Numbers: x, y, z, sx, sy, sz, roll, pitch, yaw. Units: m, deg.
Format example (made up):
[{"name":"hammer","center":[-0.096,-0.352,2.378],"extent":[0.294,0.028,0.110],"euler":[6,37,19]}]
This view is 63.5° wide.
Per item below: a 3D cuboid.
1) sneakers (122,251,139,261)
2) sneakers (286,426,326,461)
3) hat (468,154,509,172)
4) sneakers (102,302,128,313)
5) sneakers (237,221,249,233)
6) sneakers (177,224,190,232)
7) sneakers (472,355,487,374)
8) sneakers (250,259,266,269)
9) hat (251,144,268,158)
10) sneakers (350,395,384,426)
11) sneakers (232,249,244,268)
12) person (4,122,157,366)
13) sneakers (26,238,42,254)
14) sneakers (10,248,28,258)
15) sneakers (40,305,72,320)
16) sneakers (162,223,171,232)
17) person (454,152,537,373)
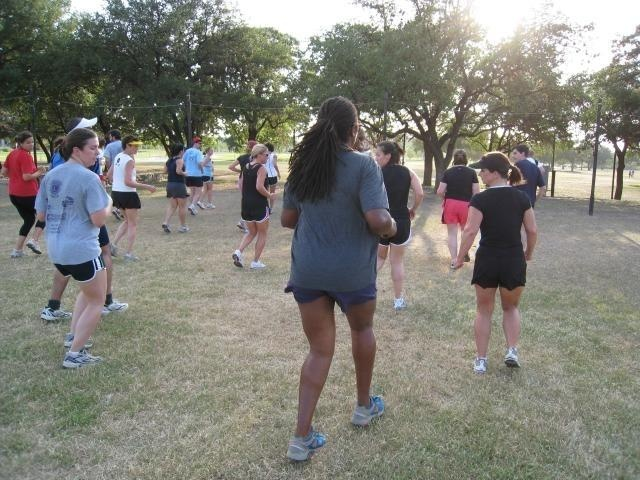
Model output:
[{"name":"sneakers","center":[-3.573,0.287,9.795],"extent":[0.314,0.153,0.120],"euler":[9,10,-28]},{"name":"sneakers","center":[-0.108,1.854,4.717],"extent":[0.155,0.215,0.413],"euler":[5,2,34]},{"name":"hat","center":[1.960,-0.885,5.863],"extent":[0.274,0.165,0.184],"euler":[7,12,14]},{"name":"sneakers","center":[-2.833,0.910,7.177],"extent":[0.339,0.175,0.127],"euler":[-8,13,-27]},{"name":"sneakers","center":[-1.814,-0.335,12.219],"extent":[0.107,0.148,0.307],"euler":[14,-27,46]},{"name":"sneakers","center":[-3.311,-0.320,12.713],"extent":[0.126,0.182,0.364],"euler":[12,13,41]},{"name":"sneakers","center":[1.816,1.412,5.842],"extent":[0.090,0.124,0.211],"euler":[3,-1,8]},{"name":"sneakers","center":[-1.130,0.419,9.445],"extent":[0.258,0.144,0.121],"euler":[-2,9,-22]},{"name":"hat","center":[-1.077,-1.587,9.178],"extent":[0.271,0.207,0.232],"euler":[2,8,-2]},{"name":"sneakers","center":[0.468,1.665,5.029],"extent":[0.153,0.188,0.375],"euler":[4,11,37]},{"name":"sneakers","center":[-1.465,0.337,9.311],"extent":[0.136,0.354,0.162],"euler":[-7,40,6]},{"name":"person","center":[-2.755,0.035,5.874],"extent":[0.815,2.626,0.576],"euler":[7,9,37]},{"name":"sneakers","center":[-5.415,0.086,9.777],"extent":[0.128,0.202,0.391],"euler":[-4,-33,9]},{"name":"sneakers","center":[-5.672,0.223,9.765],"extent":[0.100,0.133,0.290],"euler":[10,10,10]},{"name":"sneakers","center":[-3.481,0.975,6.900],"extent":[0.398,0.201,0.157],"euler":[1,8,-45]},{"name":"sneakers","center":[-3.684,-0.305,12.468],"extent":[0.114,0.142,0.294],"euler":[1,-34,8]},{"name":"person","center":[1.994,0.241,5.875],"extent":[0.840,2.466,0.483],"euler":[4,7,16]}]
